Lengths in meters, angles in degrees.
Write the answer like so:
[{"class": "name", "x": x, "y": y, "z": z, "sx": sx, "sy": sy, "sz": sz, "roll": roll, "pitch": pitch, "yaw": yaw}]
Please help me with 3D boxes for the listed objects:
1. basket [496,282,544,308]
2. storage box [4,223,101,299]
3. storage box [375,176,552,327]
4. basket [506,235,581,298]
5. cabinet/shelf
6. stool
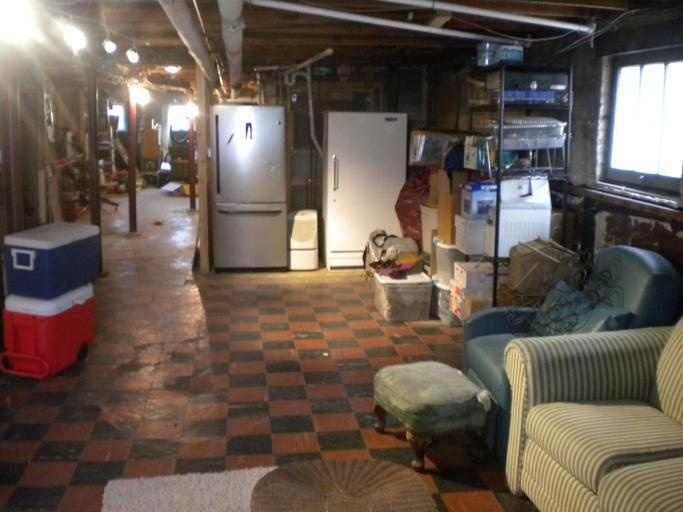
[{"class": "basket", "x": 1.469, "y": 0.320, "z": 4.475, "sx": 0.204, "sy": 0.115, "sz": 0.114, "roll": 7, "pitch": 17, "yaw": 34}, {"class": "storage box", "x": -2.202, "y": 0.059, "z": 4.219, "sx": 0.658, "sy": 0.488, "sz": 0.395, "roll": -7, "pitch": 16, "yaw": -26}, {"class": "storage box", "x": 1.318, "y": -0.156, "z": 5.114, "sx": 1.025, "sy": 1.585, "sz": 1.116, "roll": 0, "pitch": 11, "yaw": -6}, {"class": "basket", "x": 1.641, "y": 0.085, "z": 4.425, "sx": 0.496, "sy": 0.327, "sz": 0.498, "roll": 11, "pitch": 17, "yaw": 36}, {"class": "cabinet/shelf", "x": 1.717, "y": -0.951, "z": 5.311, "sx": 0.989, "sy": 1.651, "sz": 1.185, "roll": 0, "pitch": 15, "yaw": -2}, {"class": "stool", "x": 0.583, "y": 1.001, "z": 3.573, "sx": 0.552, "sy": 0.427, "sz": 0.773, "roll": -3, "pitch": 5, "yaw": -14}]
